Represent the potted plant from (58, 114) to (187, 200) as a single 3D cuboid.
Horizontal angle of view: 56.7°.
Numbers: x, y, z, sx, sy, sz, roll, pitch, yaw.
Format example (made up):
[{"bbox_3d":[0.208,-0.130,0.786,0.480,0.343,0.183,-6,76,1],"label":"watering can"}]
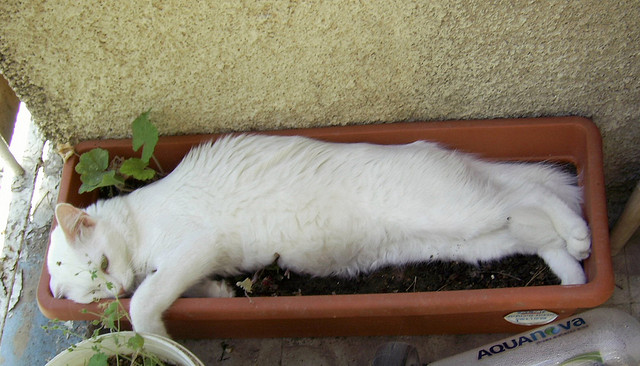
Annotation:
[{"bbox_3d":[-0.918,-0.101,2.710,0.556,0.187,0.352,-11,64,19],"label":"potted plant"}]
